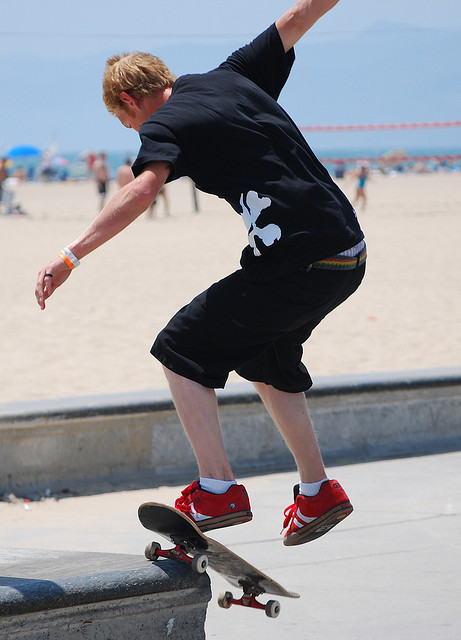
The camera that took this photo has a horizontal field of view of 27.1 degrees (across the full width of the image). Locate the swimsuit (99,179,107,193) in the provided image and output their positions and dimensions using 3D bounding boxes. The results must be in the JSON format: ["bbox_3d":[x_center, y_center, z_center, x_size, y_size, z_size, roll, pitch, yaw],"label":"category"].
[{"bbox_3d":[-2.791,-2.933,20.895,0.163,0.285,0.306,-8,10,-12],"label":"swimsuit"}]

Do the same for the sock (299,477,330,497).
[{"bbox_3d":[0.242,0.458,2.679,0.066,0.050,0.049,-31,-12,4],"label":"sock"}]

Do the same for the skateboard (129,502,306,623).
[{"bbox_3d":[0.055,0.680,2.548,0.235,0.121,0.779,-22,-42,38],"label":"skateboard"}]

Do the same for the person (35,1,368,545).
[{"bbox_3d":[-0.008,-0.048,2.596,0.763,1.598,0.785,-5,10,7],"label":"person"}]
